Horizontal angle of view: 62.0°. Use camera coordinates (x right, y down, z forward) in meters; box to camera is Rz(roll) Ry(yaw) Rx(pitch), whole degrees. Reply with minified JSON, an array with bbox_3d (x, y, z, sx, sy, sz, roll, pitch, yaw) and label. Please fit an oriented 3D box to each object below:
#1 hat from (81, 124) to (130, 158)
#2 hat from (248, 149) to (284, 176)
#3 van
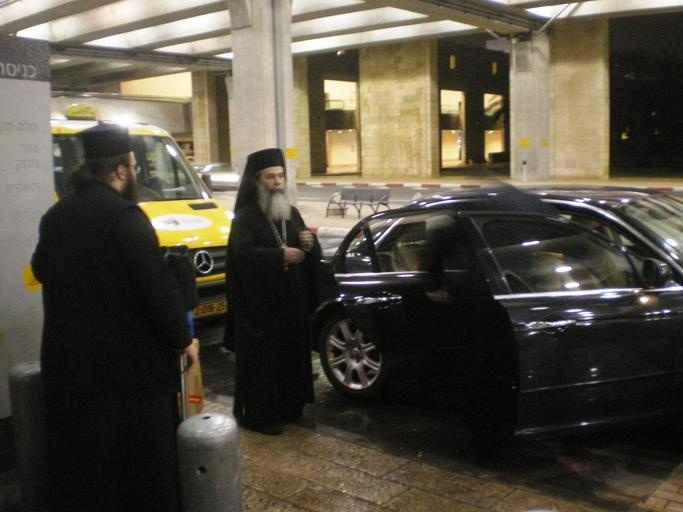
[{"bbox_3d":[-1.192,-0.565,2.903,0.213,0.147,0.198,-9,22,-8],"label":"hat"},{"bbox_3d":[-0.595,-0.750,4.504,0.261,0.111,0.204,-1,9,6],"label":"hat"},{"bbox_3d":[-2.642,-0.739,7.634,2.115,1.893,3.873,-6,8,-44],"label":"van"}]
